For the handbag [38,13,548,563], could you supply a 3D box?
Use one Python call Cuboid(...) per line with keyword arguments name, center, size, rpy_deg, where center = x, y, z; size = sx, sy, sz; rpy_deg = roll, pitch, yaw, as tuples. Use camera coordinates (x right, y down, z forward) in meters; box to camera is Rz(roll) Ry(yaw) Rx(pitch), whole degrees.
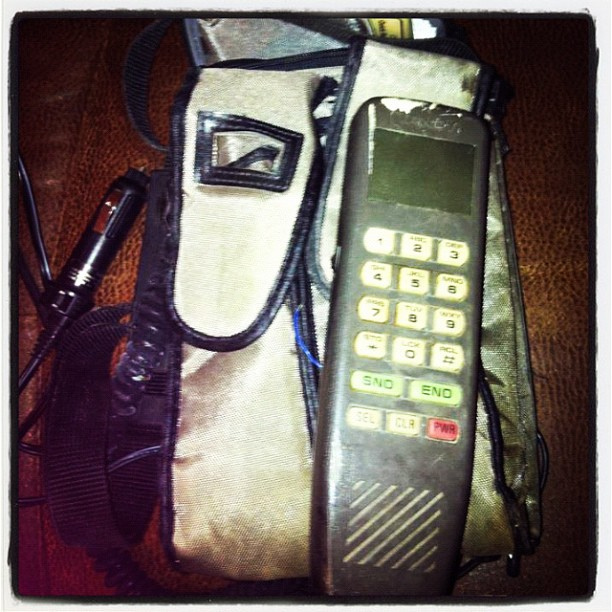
Cuboid(name="handbag", center=(-0.003, -0.020, 0.627), size=(0.592, 0.152, 0.422), rpy_deg=(3, 90, 5))
